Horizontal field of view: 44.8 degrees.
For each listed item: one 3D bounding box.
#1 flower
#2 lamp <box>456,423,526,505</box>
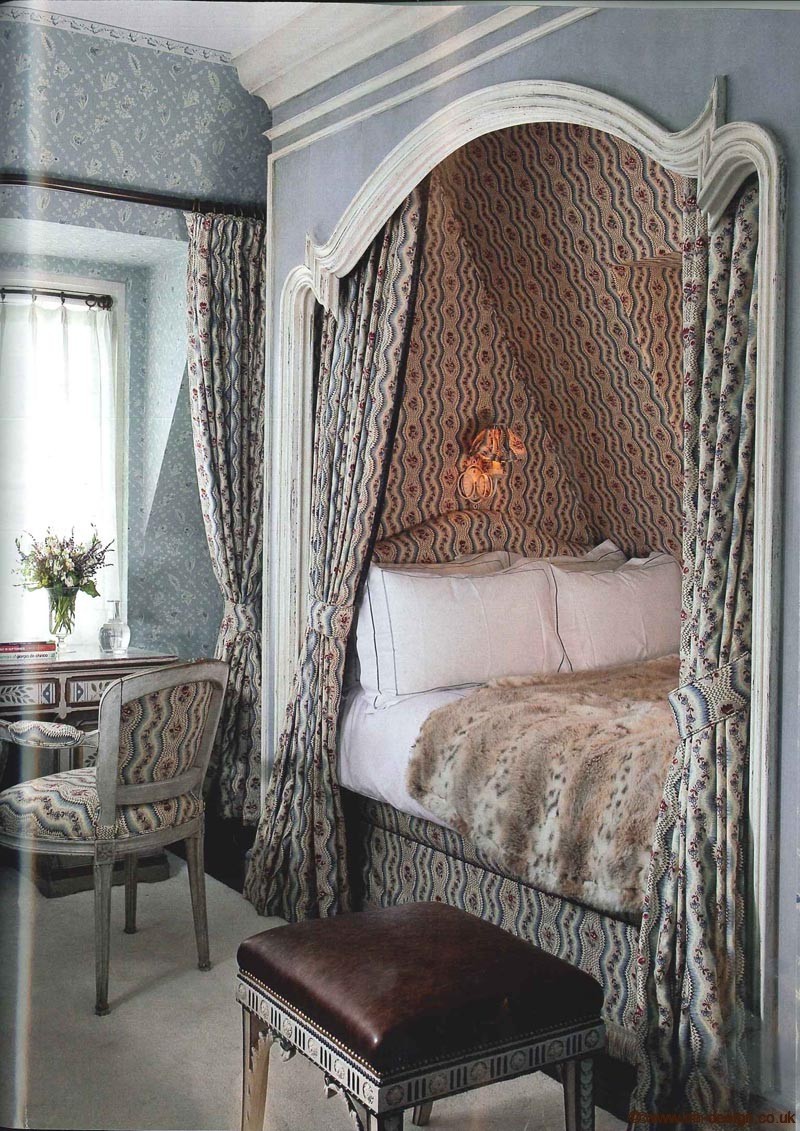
[{"bbox_3d":[-1.274,0.079,3.659,0.300,0.380,0.297,-1,-12,-9],"label":"flower"},{"bbox_3d":[0.339,-0.317,3.710,0.248,0.117,0.464,0,-2,12],"label":"lamp"}]
